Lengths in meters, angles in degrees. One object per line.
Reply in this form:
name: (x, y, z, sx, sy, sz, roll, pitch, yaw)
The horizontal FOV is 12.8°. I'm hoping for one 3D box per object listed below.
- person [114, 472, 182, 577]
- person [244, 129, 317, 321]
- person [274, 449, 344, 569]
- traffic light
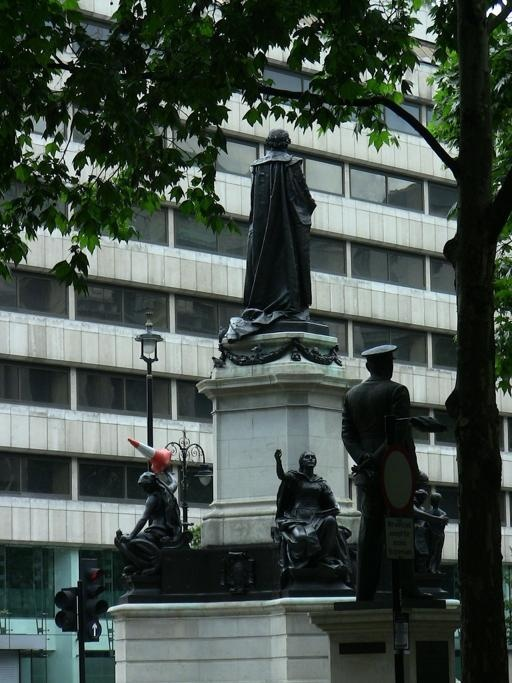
person: (-1.353, 2.308, 29.135, 0.826, 1.402, 1.081, -1, -10, -2)
person: (0.318, -1.486, 30.369, 0.937, 2.671, 0.740, -1, -9, 2)
person: (0.682, 2.095, 27.629, 0.862, 1.454, 0.644, -1, -9, 0)
traffic light: (-2.129, 3.292, 28.838, 0.787, 1.356, 0.720, -4, -10, 19)
